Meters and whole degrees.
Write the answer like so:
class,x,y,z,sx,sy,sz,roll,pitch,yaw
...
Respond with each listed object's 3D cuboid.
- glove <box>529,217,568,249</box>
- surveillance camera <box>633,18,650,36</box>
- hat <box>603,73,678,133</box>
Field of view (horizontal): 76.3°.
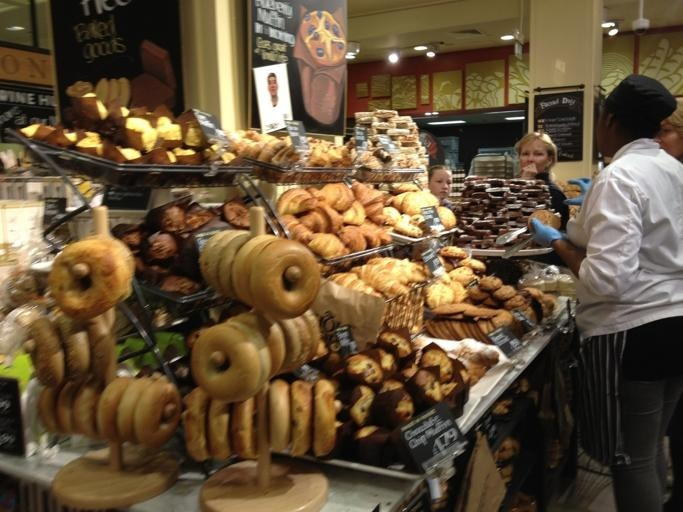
class,x,y,z,sx,sy,sz,roll,pitch,yaw
glove,1.034,-0.121,2.218,0.193,0.062,0.145,21,0,29
surveillance camera,4.334,-3.329,6.326,0.165,0.294,0.372,8,12,36
hat,1.300,-0.659,1.960,0.332,0.235,0.160,5,-15,-10
